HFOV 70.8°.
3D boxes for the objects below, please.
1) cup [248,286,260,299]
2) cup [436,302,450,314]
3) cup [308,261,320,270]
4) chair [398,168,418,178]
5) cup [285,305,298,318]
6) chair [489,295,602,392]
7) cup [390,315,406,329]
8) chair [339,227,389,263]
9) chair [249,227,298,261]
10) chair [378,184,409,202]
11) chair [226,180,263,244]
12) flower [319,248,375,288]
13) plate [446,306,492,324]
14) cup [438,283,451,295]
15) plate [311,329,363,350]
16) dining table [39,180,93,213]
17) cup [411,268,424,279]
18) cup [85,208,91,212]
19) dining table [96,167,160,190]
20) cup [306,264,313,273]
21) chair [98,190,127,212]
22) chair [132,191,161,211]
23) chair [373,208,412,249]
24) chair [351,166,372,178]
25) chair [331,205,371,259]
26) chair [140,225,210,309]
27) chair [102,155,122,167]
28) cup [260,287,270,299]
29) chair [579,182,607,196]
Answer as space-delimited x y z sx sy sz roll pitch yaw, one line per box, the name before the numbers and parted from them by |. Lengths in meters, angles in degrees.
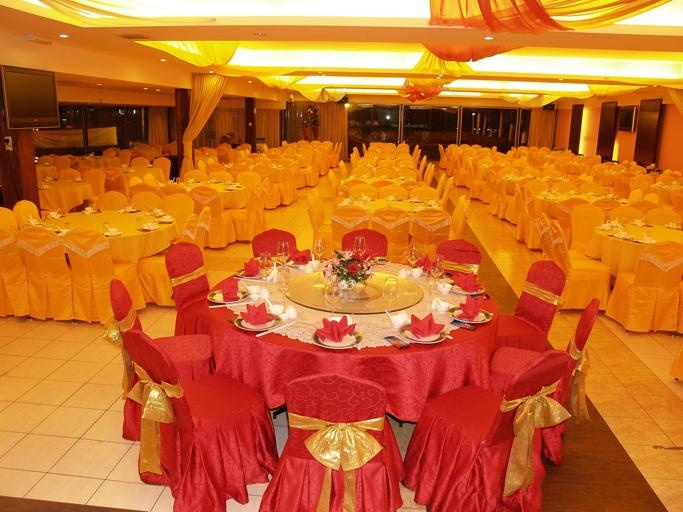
cup | -0.726 0.299 4.023 0.099 0.076 0.096 -1 3 0
cup | 0.815 0.402 3.858 0.098 0.064 0.094 1 13 0
cup | -0.271 0.094 4.700 0.079 0.049 0.103 1 15 2
chair | 1.770 -2.163 12.615 0.441 0.262 0.407 0 8 4
cup | -0.375 0.419 3.689 0.088 0.067 0.088 8 12 -2
chair | 1.764 0.763 4.143 0.607 0.887 0.583 -18 37 -40
cup | 0.429 0.480 3.619 0.107 0.085 0.100 -6 13 1
chair | 0.290 -0.121 5.264 0.384 0.595 0.427 0 0 -2
chair | -0.732 -0.140 5.148 0.391 0.521 0.431 0 -3 -2
chair | 1.002 -1.236 9.363 0.560 0.369 0.384 4 20 11
chair | -1.811 -0.848 9.329 0.745 1.115 0.502 -5 16 -21
flower | 0.070 0.103 3.968 0.348 0.224 0.333 -2 16 -2
plate | 0.971 0.470 3.729 0.177 0.025 0.165 -13 23 -30
cup | 0.892 0.283 4.176 0.091 0.056 0.088 -2 8 0
plate | -0.024 0.584 3.356 0.337 0.077 0.174 0 13 -3
dining table | -5.767 -1.265 10.050 1.023 0.365 1.007 -16 30 -36
cup | 0.721 0.168 4.567 0.099 0.065 0.092 0 1 0
cup | -3.848 -0.716 7.353 0.073 0.044 0.071 -1 10 0
dining table | -5.079 -1.823 11.401 1.187 0.340 1.139 2 17 -2
cup | -0.306 0.121 4.638 0.070 0.048 0.069 1 5 0
chair | -3.690 -0.898 7.811 0.384 0.283 0.695 -11 17 -41
chair | -3.133 -0.893 7.802 0.500 0.260 0.240 6 15 21
chair | 0.743 -0.458 7.043 0.514 0.872 0.549 3 29 6
chair | 0.552 -2.127 12.250 0.537 0.256 0.517 1 18 2
chair | 0.118 -0.443 7.118 0.681 0.858 0.704 3 27 2
chair | -1.931 0.139 5.495 0.595 0.917 0.692 17 26 13
chair | -6.868 -2.842 14.508 0.604 0.297 0.581 2 14 0
cup | -0.633 0.307 4.008 0.083 0.064 0.080 3 7 0
chair | 5.270 -1.392 10.146 0.368 0.479 0.405 -1 11 14
